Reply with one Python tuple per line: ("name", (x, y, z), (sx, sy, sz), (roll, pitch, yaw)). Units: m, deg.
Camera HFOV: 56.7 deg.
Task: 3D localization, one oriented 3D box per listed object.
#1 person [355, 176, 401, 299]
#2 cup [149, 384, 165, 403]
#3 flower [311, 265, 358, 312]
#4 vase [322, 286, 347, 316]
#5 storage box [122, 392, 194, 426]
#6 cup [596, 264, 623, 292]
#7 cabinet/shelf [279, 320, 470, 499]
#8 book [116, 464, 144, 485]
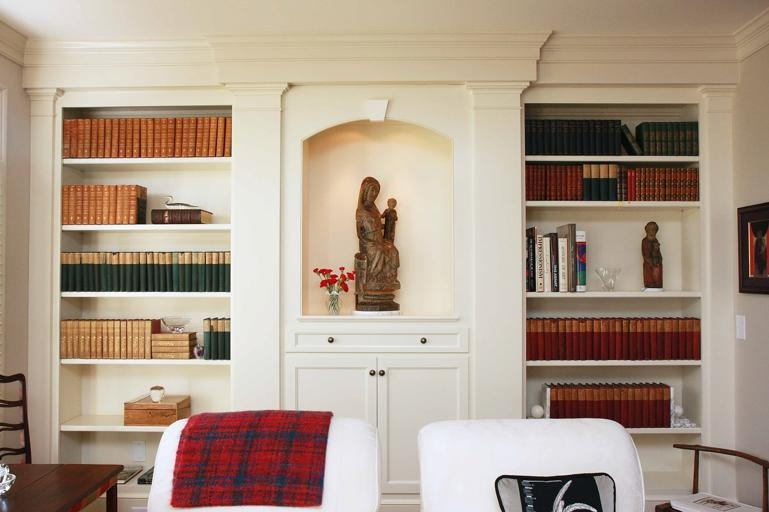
("person", (-0.075, -0.104, 5.979), (0.355, 1.097, 0.224), (-1, -6, -6))
("cup", (-1.863, 1.127, 5.896), (0.101, 0.127, 0.133), (0, -9, -4))
("flower", (-0.425, 0.282, 6.005), (0.362, 0.399, 0.387), (-2, -5, 2))
("vase", (-0.420, 0.362, 5.965), (0.217, 0.263, 0.202), (0, -6, -4))
("storage box", (-1.836, 1.233, 5.752), (0.362, 0.151, 0.360), (0, -2, 1))
("cup", (1.840, 0.174, 5.915), (0.201, 0.205, 0.209), (-1, -1, 0))
("cabinet/shelf", (-0.053, 1.132, 5.167), (1.375, 1.262, 0.526), (0, -7, 1))
("book", (-2.084, 1.763, 5.812), (0.239, 0.045, 0.322), (1, 7, -8))
